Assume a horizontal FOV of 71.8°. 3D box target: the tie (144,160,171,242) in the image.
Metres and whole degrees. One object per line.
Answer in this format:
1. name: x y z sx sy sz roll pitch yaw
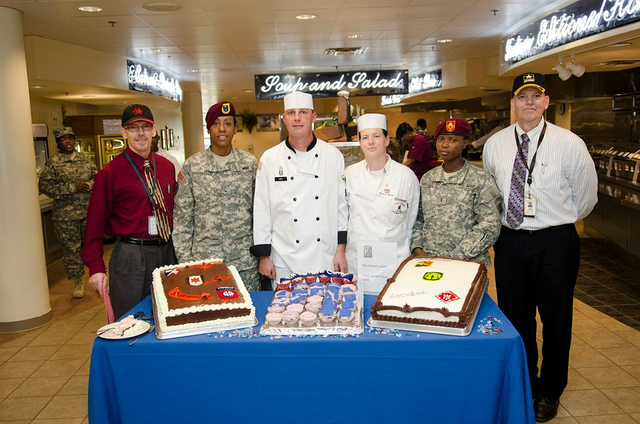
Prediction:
1. tie: -1.385 -0.083 3.757 0.179 0.700 0.034 -3 -18 -43

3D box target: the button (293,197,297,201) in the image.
1. button: -0.216 -0.109 3.788 0.025 0.026 0.013 1 5 2

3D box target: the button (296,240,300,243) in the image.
1. button: -0.189 0.249 3.789 0.022 0.017 0.023 -2 10 -9

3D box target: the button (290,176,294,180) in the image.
1. button: -0.240 -0.289 3.784 0.032 0.021 0.010 -4 12 -7

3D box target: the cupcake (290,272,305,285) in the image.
1. cupcake: -0.170 0.497 3.323 0.110 0.040 0.128 -3 13 -4

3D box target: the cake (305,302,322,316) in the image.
1. cake: -0.042 0.639 2.943 0.066 0.065 0.067 0 14 -4

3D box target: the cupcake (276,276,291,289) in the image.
1. cupcake: -0.271 0.523 3.320 0.100 0.055 0.170 -4 13 -9

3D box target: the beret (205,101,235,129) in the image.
1. beret: -0.870 -0.840 3.851 0.247 0.226 0.174 -5 13 -15

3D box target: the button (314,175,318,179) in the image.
1. button: -0.032 -0.304 3.792 0.025 0.027 0.012 0 -2 7

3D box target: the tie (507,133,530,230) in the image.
1. tie: 1.672 -0.262 3.715 0.118 0.751 0.235 4 14 27

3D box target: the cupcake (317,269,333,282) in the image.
1. cupcake: 0.034 0.475 3.346 0.113 0.038 0.172 -4 13 -9

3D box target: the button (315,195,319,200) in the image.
1. button: -0.025 -0.129 3.792 0.033 0.031 0.010 -2 12 -1

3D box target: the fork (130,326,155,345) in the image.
1. fork: -1.135 0.783 2.818 0.041 0.012 0.157 37 47 14

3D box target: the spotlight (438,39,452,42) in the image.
1. spotlight: 2.472 -3.347 8.658 0.085 0.037 0.086 0 5 4

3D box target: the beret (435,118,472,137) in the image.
1. beret: 1.138 -0.718 3.783 0.286 0.151 0.204 2 13 15

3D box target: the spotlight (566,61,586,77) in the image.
1. spotlight: 3.867 -2.158 6.680 0.216 0.202 0.419 4 14 26

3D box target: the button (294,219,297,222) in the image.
1. button: -0.208 0.067 3.780 0.017 0.017 0.019 0 13 -15

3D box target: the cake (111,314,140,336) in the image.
1. cake: -1.262 0.731 2.875 0.083 0.040 0.110 10 22 27

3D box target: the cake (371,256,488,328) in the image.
1. cake: 0.807 0.522 3.100 0.669 0.196 0.833 -2 18 32
